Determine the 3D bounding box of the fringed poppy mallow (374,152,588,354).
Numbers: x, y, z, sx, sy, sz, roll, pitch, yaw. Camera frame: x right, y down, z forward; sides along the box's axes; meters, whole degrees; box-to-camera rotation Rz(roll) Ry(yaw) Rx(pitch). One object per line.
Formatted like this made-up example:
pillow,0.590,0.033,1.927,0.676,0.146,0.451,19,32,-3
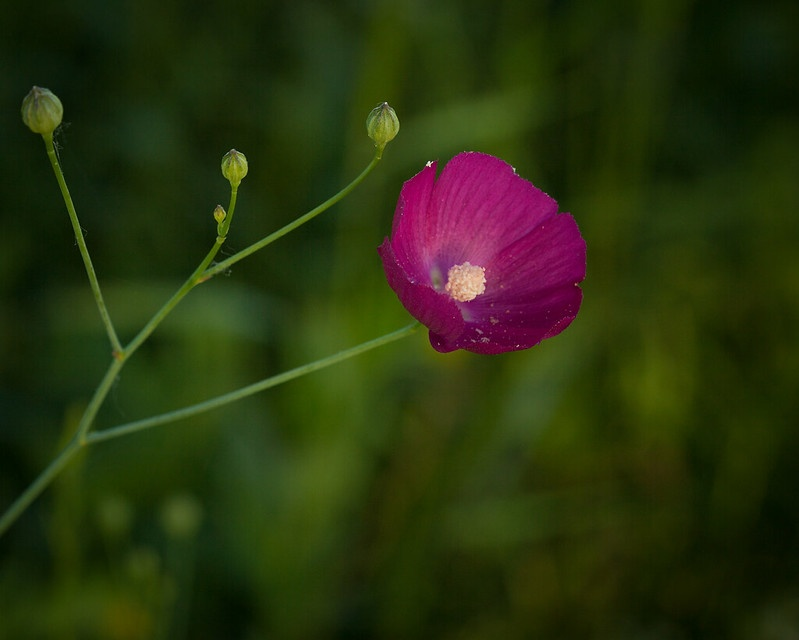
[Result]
fringed poppy mallow,0.074,-0.052,0.939,0.198,0.094,0.227,17,-111,-15
